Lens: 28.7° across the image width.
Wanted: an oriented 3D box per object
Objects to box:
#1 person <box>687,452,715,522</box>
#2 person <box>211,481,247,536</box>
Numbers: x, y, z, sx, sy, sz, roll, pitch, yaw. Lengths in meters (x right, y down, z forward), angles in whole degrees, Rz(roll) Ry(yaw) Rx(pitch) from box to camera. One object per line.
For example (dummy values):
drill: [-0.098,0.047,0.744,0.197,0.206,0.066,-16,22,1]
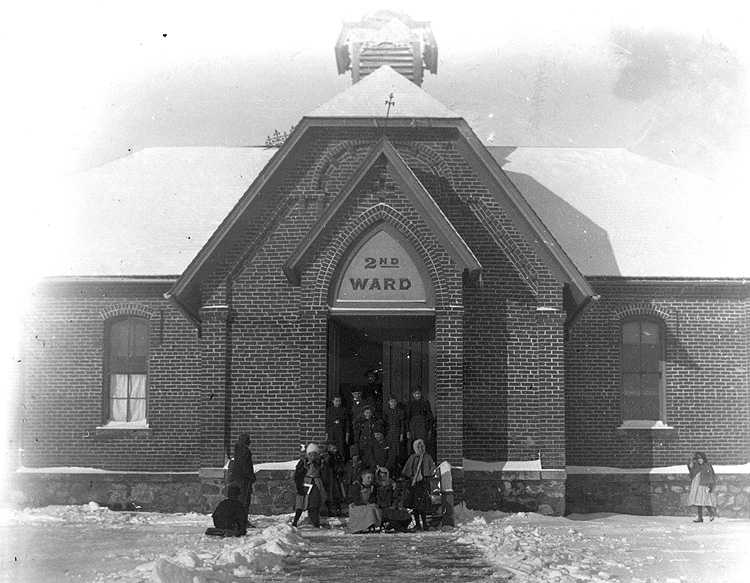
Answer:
person: [8.488,5.075,37.854,0.677,1.832,1.313,-4,-14,12]
person: [-3.246,4.969,33.678,0.764,1.123,0.360,-1,-2,6]
